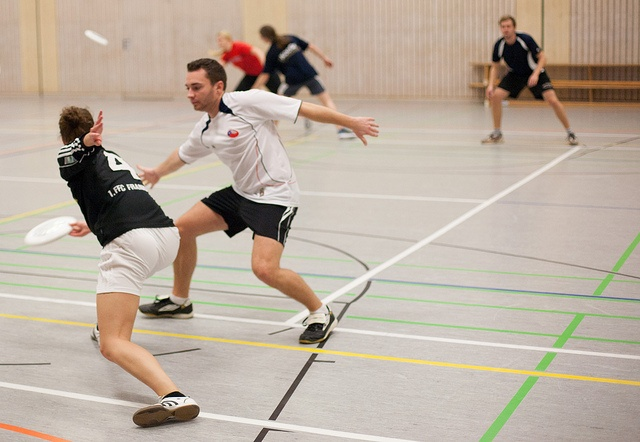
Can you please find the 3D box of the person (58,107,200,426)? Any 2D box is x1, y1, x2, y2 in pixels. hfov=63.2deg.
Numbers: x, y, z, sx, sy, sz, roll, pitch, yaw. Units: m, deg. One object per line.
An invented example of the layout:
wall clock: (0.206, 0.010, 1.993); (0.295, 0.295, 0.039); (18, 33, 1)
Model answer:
person: (-1.039, 0.223, 2.862); (0.590, 1.542, 1.075); (-4, 17, -27)

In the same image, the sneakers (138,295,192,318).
sneakers: (-1.155, 0.661, 4.096); (0.476, 0.169, 0.160); (4, -2, 0)

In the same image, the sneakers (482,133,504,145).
sneakers: (3.353, -1.606, 10.098); (0.450, 0.161, 0.167); (0, 13, 0)

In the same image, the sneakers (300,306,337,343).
sneakers: (0.019, 0.715, 3.671); (0.143, 0.147, 0.365); (0, 14, 27)

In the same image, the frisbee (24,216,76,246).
frisbee: (-1.732, 0.071, 3.315); (0.269, 0.054, 0.249); (-14, 17, 7)
